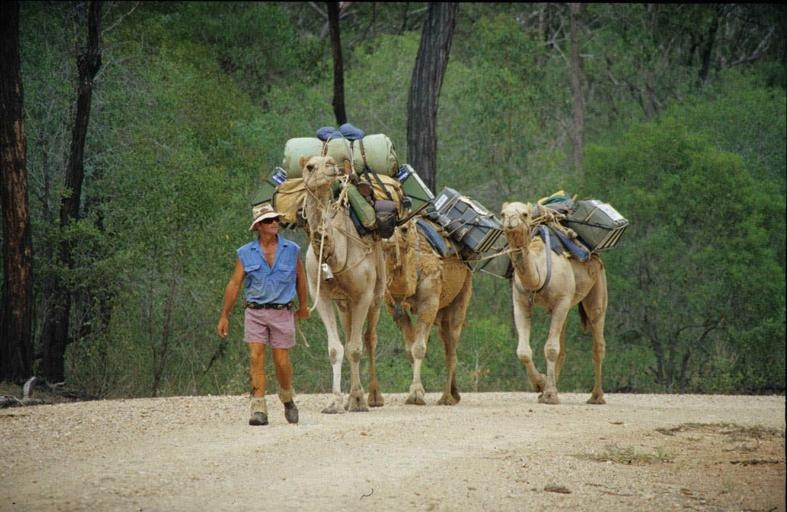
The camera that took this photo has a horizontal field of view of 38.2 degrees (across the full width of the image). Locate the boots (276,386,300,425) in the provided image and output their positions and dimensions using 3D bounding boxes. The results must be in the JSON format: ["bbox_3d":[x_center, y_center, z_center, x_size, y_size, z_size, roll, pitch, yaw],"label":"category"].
[{"bbox_3d":[-2.119,3.004,22.921,0.276,0.630,0.859,-10,31,-16],"label":"boots"}]

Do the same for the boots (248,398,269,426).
[{"bbox_3d":[-2.685,3.143,22.706,0.266,0.451,0.620,0,-21,0],"label":"boots"}]
